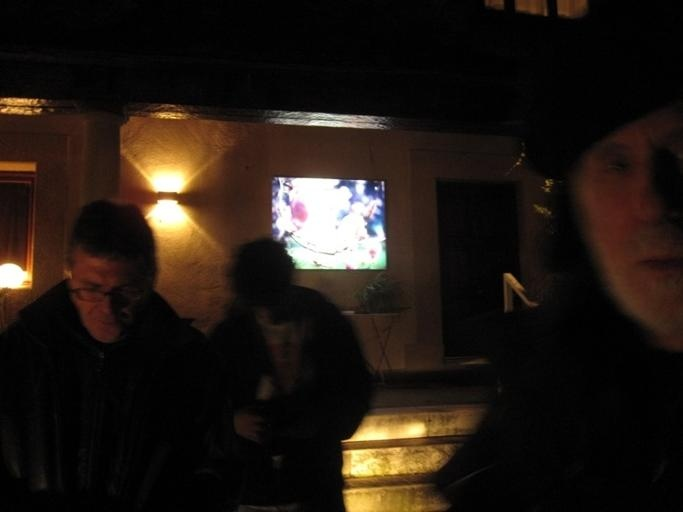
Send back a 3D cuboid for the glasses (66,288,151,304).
[{"bbox_3d":[-0.521,0.086,1.684,0.164,0.033,0.036,0,-1,2],"label":"glasses"}]
